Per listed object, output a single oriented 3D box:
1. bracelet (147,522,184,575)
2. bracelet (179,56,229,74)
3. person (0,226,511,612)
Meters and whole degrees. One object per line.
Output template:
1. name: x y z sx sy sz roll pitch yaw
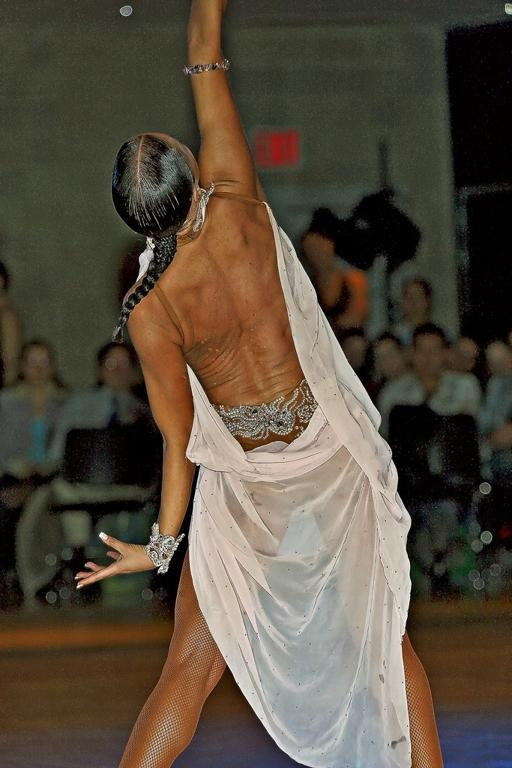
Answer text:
1. bracelet: -0.188 0.348 2.139 0.071 0.129 0.145 -7 7 -2
2. bracelet: -0.118 -0.678 2.183 0.110 0.037 0.035 -8 13 9
3. person: -0.357 0.228 3.420 1.608 0.954 0.658 -3 -17 3
